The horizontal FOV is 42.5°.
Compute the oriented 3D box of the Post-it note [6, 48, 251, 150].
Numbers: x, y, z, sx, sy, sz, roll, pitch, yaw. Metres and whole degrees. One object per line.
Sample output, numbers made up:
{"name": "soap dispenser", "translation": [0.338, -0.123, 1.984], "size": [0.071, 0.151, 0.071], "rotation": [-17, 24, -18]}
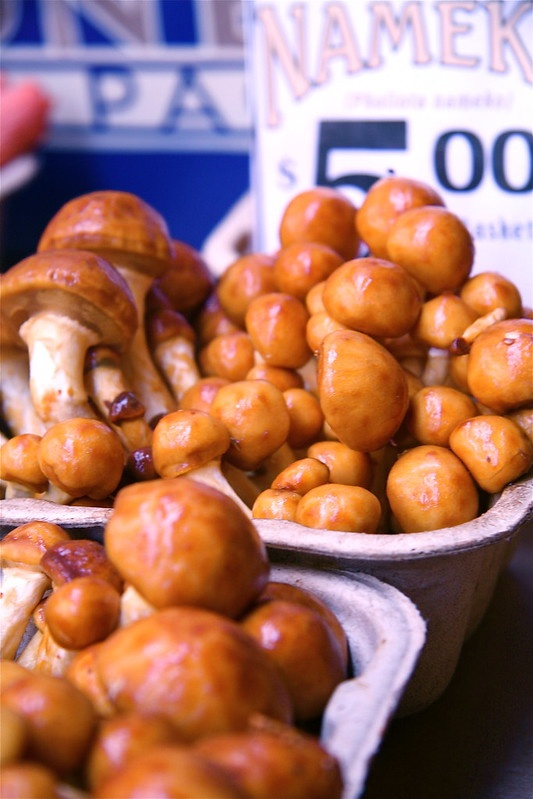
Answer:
{"name": "Post-it note", "translation": [-0.172, -0.351, 0.797], "size": [0.169, 0.151, 0.041], "rotation": [-2, -7, -7]}
